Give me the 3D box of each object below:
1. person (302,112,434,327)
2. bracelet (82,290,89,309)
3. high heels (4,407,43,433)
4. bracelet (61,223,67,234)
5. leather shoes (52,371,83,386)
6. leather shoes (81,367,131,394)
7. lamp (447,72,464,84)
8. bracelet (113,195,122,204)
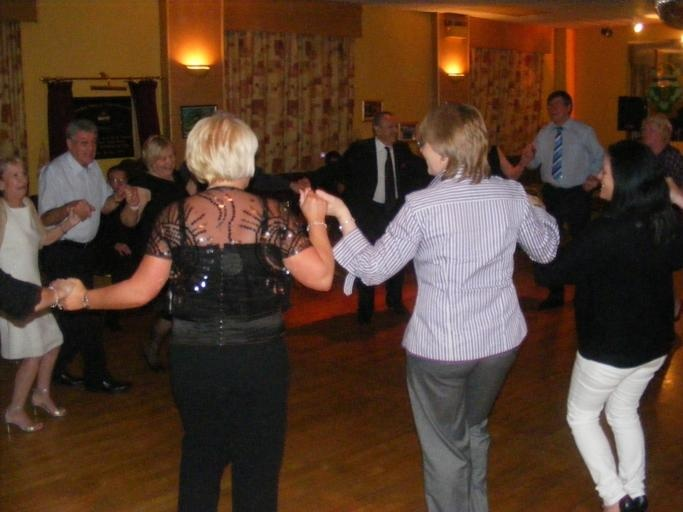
[{"bbox_3d":[0.413,-0.360,5.773,1.326,2.075,0.656,-13,26,-17],"label":"person"},{"bbox_3d":[-1.041,0.183,2.479,0.018,0.055,0.039,3,1,-31],"label":"bracelet"},{"bbox_3d":[-2.002,1.028,3.856,0.231,0.109,0.134,4,3,0],"label":"high heels"},{"bbox_3d":[-1.704,-0.168,3.738,0.040,0.054,0.013,1,5,18],"label":"bracelet"},{"bbox_3d":[-2.014,0.907,4.526,0.258,0.116,0.089,2,-2,0],"label":"leather shoes"},{"bbox_3d":[-1.679,0.898,4.396,0.346,0.154,0.147,-1,3,-2],"label":"leather shoes"},{"bbox_3d":[2.038,-3.094,10.693,0.382,0.155,0.102,-9,16,-33],"label":"lamp"},{"bbox_3d":[-1.521,-0.388,4.154,0.063,0.062,0.020,-1,44,4],"label":"bracelet"}]
